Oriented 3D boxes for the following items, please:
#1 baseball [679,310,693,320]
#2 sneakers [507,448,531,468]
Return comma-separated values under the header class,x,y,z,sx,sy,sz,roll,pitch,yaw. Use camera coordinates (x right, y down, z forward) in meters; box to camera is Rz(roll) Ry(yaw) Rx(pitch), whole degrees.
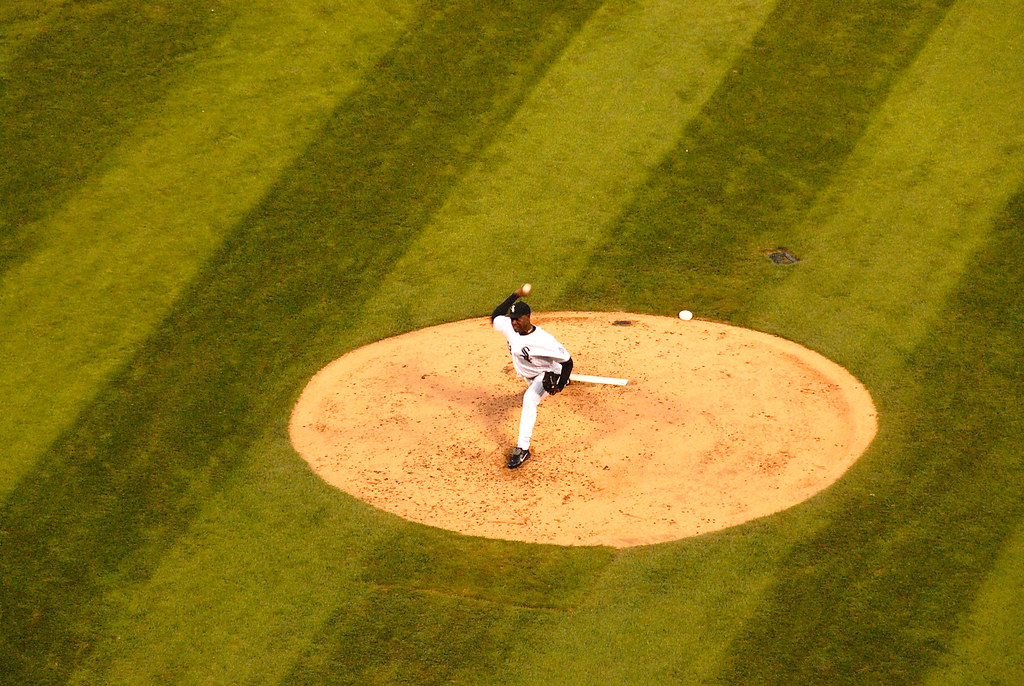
class,x,y,z,sx,sy,sz,roll,pitch,yaw
baseball,3.732,-0.572,44.349,0.281,0.138,0.233,0,84,0
sneakers,0.115,2.334,41.798,0.261,0.233,0.531,34,72,34
